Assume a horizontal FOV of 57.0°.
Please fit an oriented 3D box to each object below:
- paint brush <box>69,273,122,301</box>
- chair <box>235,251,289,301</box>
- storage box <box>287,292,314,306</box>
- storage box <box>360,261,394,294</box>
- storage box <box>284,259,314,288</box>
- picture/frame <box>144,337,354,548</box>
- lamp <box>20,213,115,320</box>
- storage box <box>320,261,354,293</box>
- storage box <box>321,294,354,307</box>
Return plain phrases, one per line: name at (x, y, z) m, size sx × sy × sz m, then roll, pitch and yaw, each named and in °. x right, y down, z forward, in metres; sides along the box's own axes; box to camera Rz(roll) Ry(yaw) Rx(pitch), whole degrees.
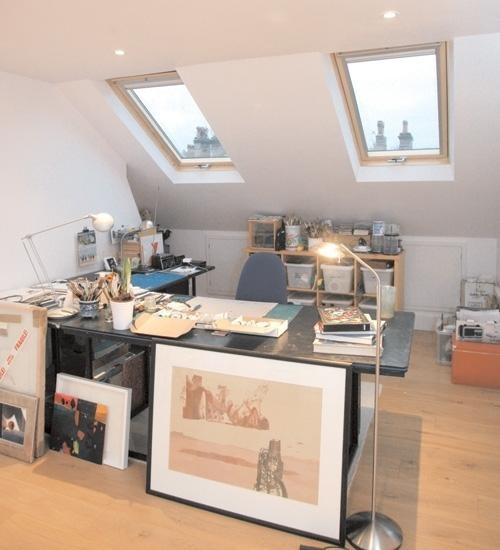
paint brush at (-0.814, 0.048, 2.512) m, size 0.155 × 0.097 × 0.343 m, roll 1°, pitch 5°, yaw 8°
chair at (0.087, -0.009, 2.964) m, size 0.321 × 0.427 × 0.329 m, roll 2°, pitch 11°, yaw 12°
storage box at (0.516, 0.238, 4.639) m, size 0.224 × 0.068 × 0.154 m, roll 3°, pitch 10°, yaw 15°
storage box at (1.172, -0.011, 4.287) m, size 0.419 × 0.290 × 0.335 m, roll 2°, pitch 9°, yaw 22°
storage box at (0.511, 0.005, 4.679) m, size 0.243 × 0.199 × 0.287 m, roll -5°, pitch 7°, yaw -37°
picture/frame at (-0.005, 0.634, 1.678) m, size 0.747 × 0.517 × 0.031 m, roll 2°, pitch 0°, yaw 23°
lamp at (-1.176, -0.160, 3.026) m, size 0.580 × 0.531 × 0.133 m, roll -1°, pitch 30°, yaw -14°
storage box at (0.800, 0.034, 4.421) m, size 0.260 × 0.219 × 0.306 m, roll -6°, pitch 7°, yaw -44°
storage box at (0.848, 0.253, 4.499) m, size 0.186 × 0.058 × 0.151 m, roll 4°, pitch 11°, yaw 21°
